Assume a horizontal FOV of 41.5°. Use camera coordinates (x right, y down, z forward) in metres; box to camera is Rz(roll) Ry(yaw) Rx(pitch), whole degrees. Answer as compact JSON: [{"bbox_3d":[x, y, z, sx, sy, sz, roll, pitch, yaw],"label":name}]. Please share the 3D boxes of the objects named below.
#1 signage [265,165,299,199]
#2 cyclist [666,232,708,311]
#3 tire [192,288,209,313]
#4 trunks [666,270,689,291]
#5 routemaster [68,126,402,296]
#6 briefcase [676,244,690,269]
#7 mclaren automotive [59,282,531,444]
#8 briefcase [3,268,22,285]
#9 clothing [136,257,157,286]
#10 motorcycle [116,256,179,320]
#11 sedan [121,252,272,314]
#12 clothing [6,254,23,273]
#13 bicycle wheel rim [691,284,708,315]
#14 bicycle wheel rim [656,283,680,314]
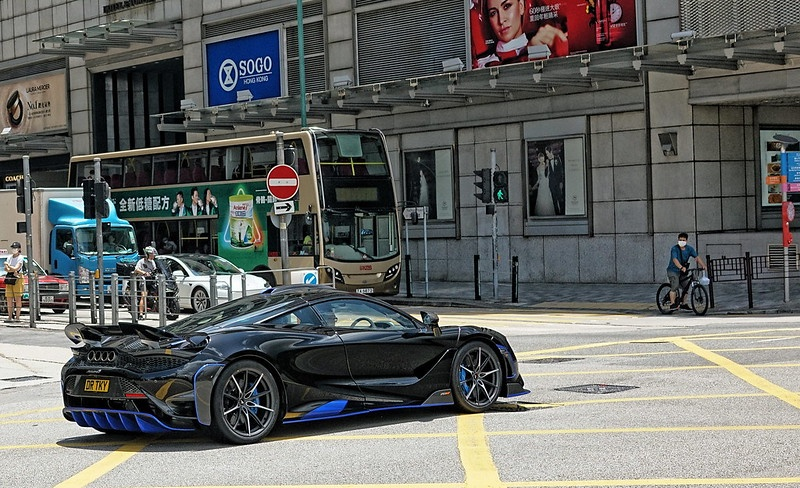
[{"bbox_3d":[-3.101,-1.626,27.271,0.742,0.908,0.486,-3,5,-13],"label":"signage"},{"bbox_3d":[8.137,0.769,30.232,0.917,2.144,1.212,-1,2,-19],"label":"cyclist"},{"bbox_3d":[-5.425,1.519,28.409,0.774,0.754,0.273,-4,-9,32],"label":"tire"},{"bbox_3d":[8.052,1.001,30.573,0.488,0.867,0.718,3,9,27],"label":"trunks"},{"bbox_3d":[-6.037,-1.231,39.119,13.331,5.495,5.063,0,2,40],"label":"routemaster"},{"bbox_3d":[8.066,0.367,30.268,0.606,0.781,0.409,-1,5,8],"label":"briefcase"},{"bbox_3d":[-1.595,2.140,19.354,8.190,2.084,4.297,-1,-5,-41],"label":"mclaren automotive"},{"bbox_3d":[-11.623,1.013,31.404,0.628,0.595,0.339,1,-3,-4],"label":"briefcase"},{"bbox_3d":[-7.343,0.797,30.243,0.402,0.755,0.738,-8,-5,40],"label":"clothing"},{"bbox_3d":[-6.844,1.286,29.325,1.414,2.613,1.624,-1,-1,20],"label":"motorcycle"},{"bbox_3d":[-5.877,1.076,30.463,4.291,1.606,2.047,-1,0,33],"label":"sedan"},{"bbox_3d":[-11.567,0.586,31.404,0.571,0.614,0.359,4,-6,5],"label":"clothing"},{"bbox_3d":[8.577,1.546,30.223,0.386,0.968,0.842,-4,5,-22],"label":"bicycle wheel rim"},{"bbox_3d":[7.766,1.445,30.694,0.643,0.668,0.636,-18,-12,28],"label":"bicycle wheel rim"}]
